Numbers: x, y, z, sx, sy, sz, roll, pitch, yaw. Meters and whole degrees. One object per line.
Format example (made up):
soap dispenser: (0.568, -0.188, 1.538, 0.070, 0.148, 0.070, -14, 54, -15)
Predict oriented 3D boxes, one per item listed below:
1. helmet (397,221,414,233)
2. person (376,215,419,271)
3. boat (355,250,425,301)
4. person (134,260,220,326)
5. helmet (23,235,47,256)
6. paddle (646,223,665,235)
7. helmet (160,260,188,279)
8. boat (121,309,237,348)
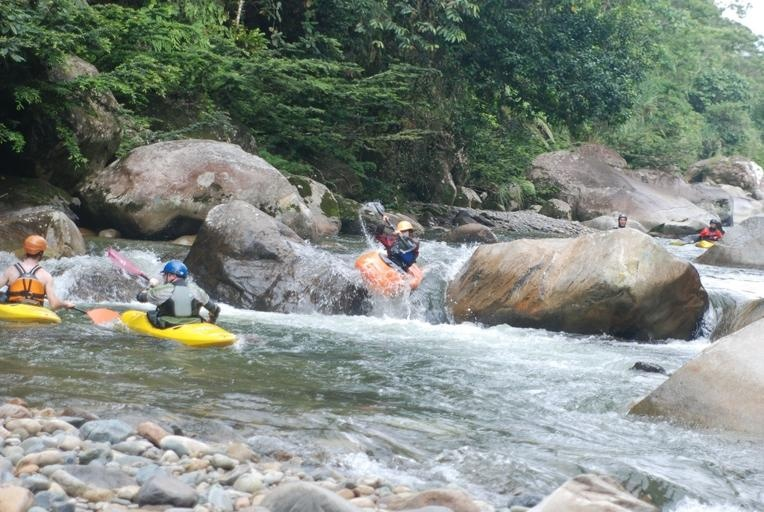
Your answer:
helmet: (0.578, -0.738, 26.051, 0.302, 0.177, 0.383, 6, 18, 35)
person: (0.350, -0.313, 27.097, 1.180, 0.932, 2.266, -23, 5, 5)
boat: (0.002, 0.344, 25.058, 1.279, 0.434, 1.208, 2, 32, -43)
person: (-4.470, 0.860, 22.990, 1.012, 1.361, 0.881, -16, 51, -30)
helmet: (-7.542, -0.226, 22.648, 0.413, 0.485, 0.358, 12, 13, -14)
paddle: (10.024, -0.939, 37.930, 0.181, 0.530, 0.434, 12, 44, -54)
helmet: (-4.434, 0.266, 22.360, 0.571, 0.280, 0.391, 14, 2, 19)
boat: (-4.415, 1.668, 22.261, 2.865, 0.424, 0.832, 9, 9, 17)
